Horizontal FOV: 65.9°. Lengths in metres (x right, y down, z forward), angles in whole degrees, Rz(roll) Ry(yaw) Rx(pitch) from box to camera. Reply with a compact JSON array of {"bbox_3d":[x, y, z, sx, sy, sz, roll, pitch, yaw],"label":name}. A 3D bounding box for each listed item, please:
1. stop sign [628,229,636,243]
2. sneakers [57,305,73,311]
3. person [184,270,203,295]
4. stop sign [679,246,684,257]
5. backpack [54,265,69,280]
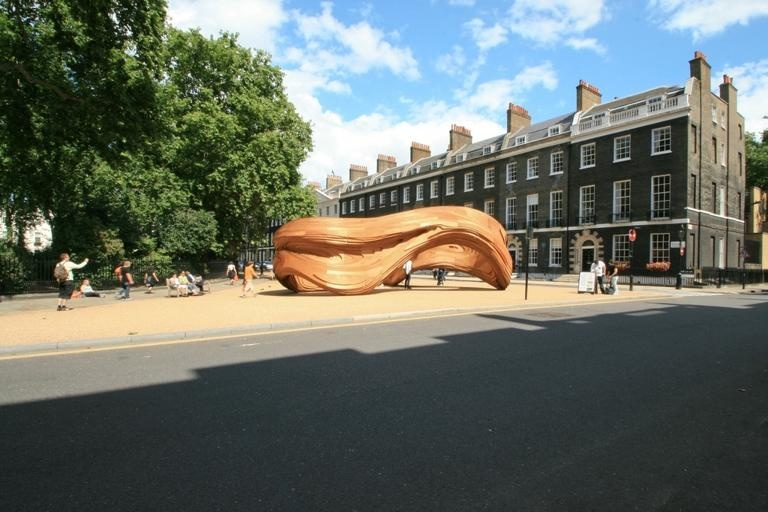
[{"bbox_3d":[15.615,-1.268,37.114,0.694,0.785,0.104,16,-22,-34],"label":"stop sign"},{"bbox_3d":[-11.680,1.893,21.574,0.383,0.278,0.140,-4,-6,-4],"label":"sneakers"},{"bbox_3d":[-9.626,1.359,29.715,0.785,1.398,0.578,-23,21,-22],"label":"person"},{"bbox_3d":[18.085,-0.306,35.933,0.160,0.547,0.557,9,4,36],"label":"stop sign"},{"bbox_3d":[-11.642,0.591,21.350,0.406,0.614,0.338,-10,0,-14],"label":"backpack"}]
